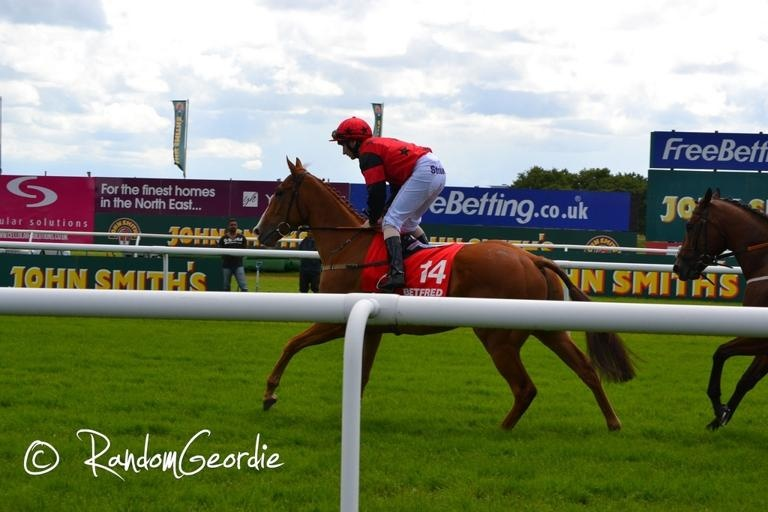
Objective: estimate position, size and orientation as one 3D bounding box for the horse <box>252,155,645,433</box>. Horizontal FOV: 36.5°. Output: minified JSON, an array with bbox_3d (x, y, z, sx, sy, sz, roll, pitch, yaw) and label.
[{"bbox_3d":[0.286,0.210,6.804,2.396,1.319,0.464,8,6,22],"label":"horse"}]

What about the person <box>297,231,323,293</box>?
[{"bbox_3d":[-0.753,0.089,11.951,0.289,0.823,0.254,1,31,-6],"label":"person"}]
